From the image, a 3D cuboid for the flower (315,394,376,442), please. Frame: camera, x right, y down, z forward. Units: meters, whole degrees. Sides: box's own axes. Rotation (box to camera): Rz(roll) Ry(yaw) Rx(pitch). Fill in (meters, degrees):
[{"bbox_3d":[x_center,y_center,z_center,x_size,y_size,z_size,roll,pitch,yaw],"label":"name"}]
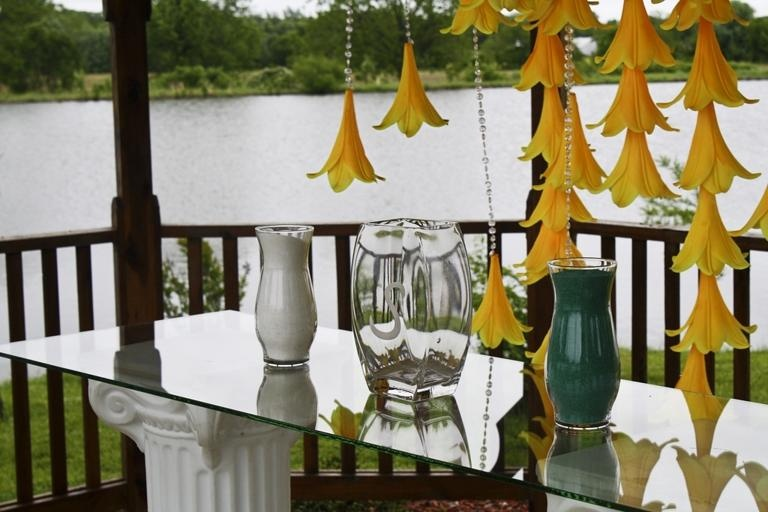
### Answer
[{"bbox_3d":[-0.309,1.320,17.705,0.289,0.204,0.310,-10,-15,-12],"label":"flower"}]
